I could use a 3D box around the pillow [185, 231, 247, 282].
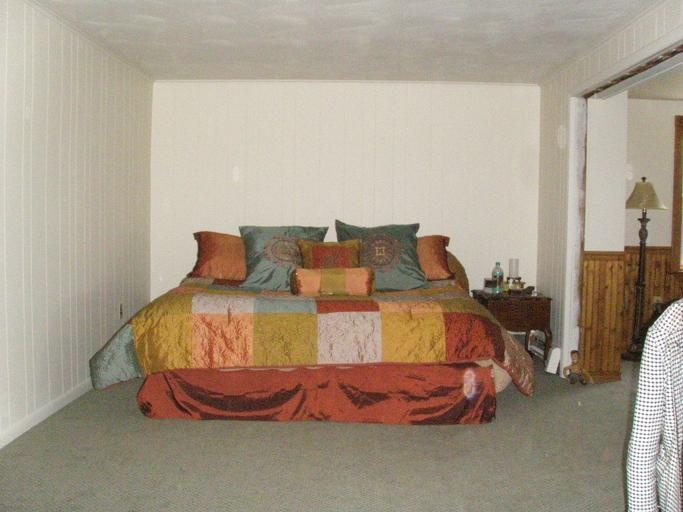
[{"bbox_3d":[-1.010,-0.003,4.844,0.414,0.432,0.125,4,-26,-20],"label":"pillow"}]

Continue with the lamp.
[{"bbox_3d":[2.740,0.082,5.403,0.306,1.551,0.824,8,16,28],"label":"lamp"}]

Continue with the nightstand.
[{"bbox_3d":[1.467,0.547,5.130,0.666,0.692,0.523,0,0,4],"label":"nightstand"}]
